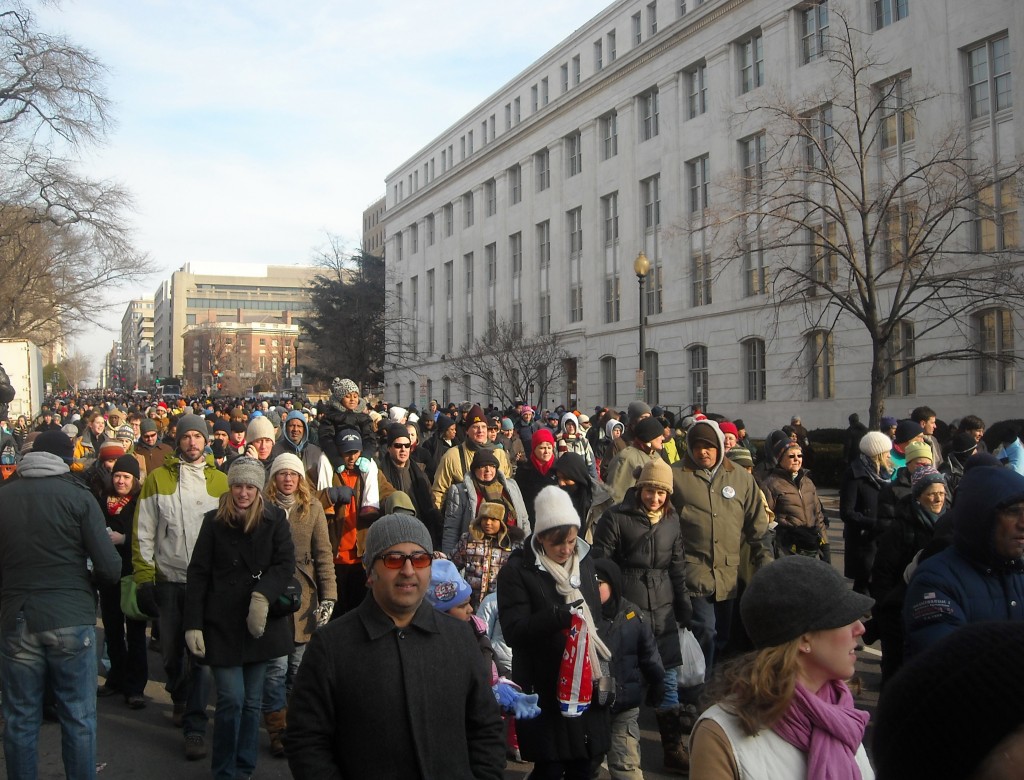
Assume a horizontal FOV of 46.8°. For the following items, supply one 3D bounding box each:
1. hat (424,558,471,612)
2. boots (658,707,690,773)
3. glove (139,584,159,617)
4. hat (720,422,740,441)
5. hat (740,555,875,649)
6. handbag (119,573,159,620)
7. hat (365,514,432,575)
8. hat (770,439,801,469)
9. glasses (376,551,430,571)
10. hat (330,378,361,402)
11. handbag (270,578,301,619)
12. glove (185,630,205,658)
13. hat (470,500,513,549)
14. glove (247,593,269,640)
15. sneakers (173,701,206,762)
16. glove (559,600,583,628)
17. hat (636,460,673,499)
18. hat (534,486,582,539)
[{"bbox_3d":[-0.422,1.257,7.699,0.267,0.283,0.373,-22,-12,-26],"label":"hat"},{"bbox_3d":[1.204,2.574,8.836,0.221,0.481,0.289,1,-2,9],"label":"boots"},{"bbox_3d":[-2.741,1.586,8.951,0.134,0.261,0.193,1,-2,13],"label":"glove"},{"bbox_3d":[2.427,0.428,13.058,0.219,0.251,0.316,-1,-7,4],"label":"hat"},{"bbox_3d":[1.404,0.957,5.673,0.676,0.348,0.517,-17,-3,16],"label":"hat"},{"bbox_3d":[-2.839,1.567,8.931,0.331,0.345,0.256,0,-5,5],"label":"handbag"},{"bbox_3d":[-0.611,0.788,6.295,0.316,0.256,0.321,13,-14,-33],"label":"hat"},{"bbox_3d":[2.689,0.588,11.347,0.301,0.348,0.409,-1,-6,-9],"label":"hat"},{"bbox_3d":[-0.546,0.878,6.136,0.257,0.096,0.076,2,-2,-16],"label":"glasses"},{"bbox_3d":[-1.963,0.035,13.952,0.322,0.273,0.251,17,9,25],"label":"hat"},{"bbox_3d":[-1.601,1.487,8.487,0.157,0.280,0.293,1,-2,17],"label":"handbag"},{"bbox_3d":[-2.216,1.759,8.360,0.119,0.182,0.138,-16,-6,4],"label":"glove"},{"bbox_3d":[-0.157,1.089,9.568,0.361,0.358,0.332,2,-10,1],"label":"hat"},{"bbox_3d":[-1.780,1.574,8.312,0.158,0.329,0.181,3,-2,-19],"label":"glove"},{"bbox_3d":[-2.505,2.693,9.347,0.186,0.265,0.627,5,-4,-23],"label":"sneakers"},{"bbox_3d":[0.380,1.400,7.457,0.101,0.122,0.134,-6,24,1],"label":"glove"},{"bbox_3d":[1.109,0.683,9.062,0.223,0.228,0.264,12,-7,-6],"label":"hat"},{"bbox_3d":[0.301,0.794,7.756,0.311,0.298,0.280,3,1,39],"label":"hat"}]
